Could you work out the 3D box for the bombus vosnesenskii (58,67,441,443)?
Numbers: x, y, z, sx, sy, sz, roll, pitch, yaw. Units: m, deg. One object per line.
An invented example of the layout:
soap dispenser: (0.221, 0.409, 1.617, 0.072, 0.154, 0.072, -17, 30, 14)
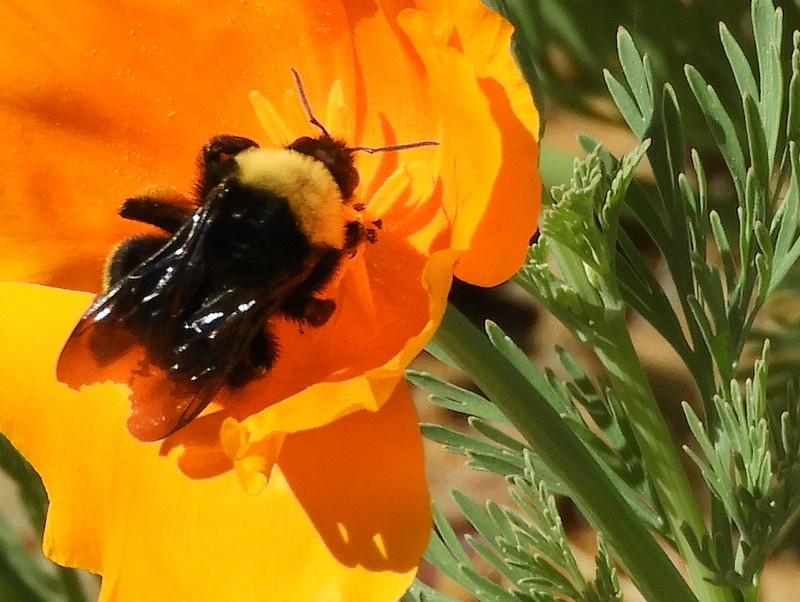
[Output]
bombus vosnesenskii: (-0.112, -0.024, 0.801, 0.299, 0.170, 0.096, -40, -21, -26)
